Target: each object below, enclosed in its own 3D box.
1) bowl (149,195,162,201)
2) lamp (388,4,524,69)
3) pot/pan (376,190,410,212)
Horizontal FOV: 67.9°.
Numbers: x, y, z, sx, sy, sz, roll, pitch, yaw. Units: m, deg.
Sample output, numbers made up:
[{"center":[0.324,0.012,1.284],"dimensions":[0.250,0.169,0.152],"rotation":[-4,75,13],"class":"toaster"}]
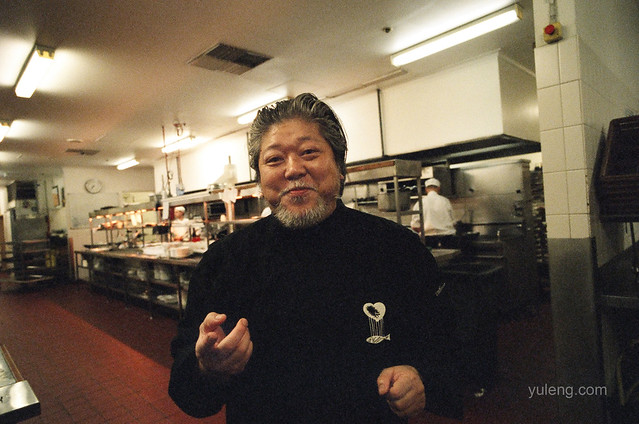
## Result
[{"center":[-3.351,-0.282,9.689],"dimensions":[0.212,0.184,0.285],"rotation":[2,-4,-41],"class":"bowl"},{"center":[1.753,-2.294,6.230],"dimensions":[1.632,0.725,0.217],"rotation":[-1,0,31],"class":"lamp"},{"center":[0.979,-0.135,6.189],"dimensions":[0.329,0.203,0.307],"rotation":[2,-9,-15],"class":"pot/pan"}]
